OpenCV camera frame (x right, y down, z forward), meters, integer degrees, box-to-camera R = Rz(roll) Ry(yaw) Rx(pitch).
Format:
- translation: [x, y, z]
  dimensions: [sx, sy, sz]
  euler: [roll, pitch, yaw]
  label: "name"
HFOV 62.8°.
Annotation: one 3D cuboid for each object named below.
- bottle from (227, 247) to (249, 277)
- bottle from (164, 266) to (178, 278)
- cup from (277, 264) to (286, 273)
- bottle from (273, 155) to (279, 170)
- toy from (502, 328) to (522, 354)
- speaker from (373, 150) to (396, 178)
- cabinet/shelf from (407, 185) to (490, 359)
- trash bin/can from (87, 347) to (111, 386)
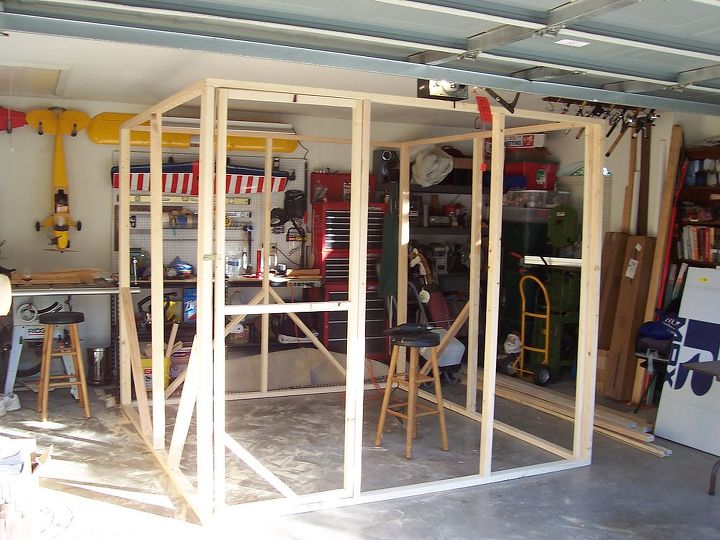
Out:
- translation: [-1.796, -0.109, 8.626]
  dimensions: [0.329, 0.377, 0.395]
  euler: [0, 10, -9]
  label: "bottle"
- translation: [-2.641, 0.027, 8.098]
  dimensions: [0.177, 0.167, 0.221]
  euler: [-2, 7, -31]
  label: "bottle"
- translation: [-1.193, -0.021, 8.640]
  dimensions: [0.175, 0.111, 0.144]
  euler: [4, 12, 10]
  label: "cup"
- translation: [-1.256, -1.586, 8.783]
  dimensions: [0.094, 0.201, 0.225]
  euler: [1, 10, -5]
  label: "bottle"
- translation: [2.122, 1.021, 8.210]
  dimensions: [0.279, 0.252, 0.153]
  euler: [3, 1, 27]
  label: "toy"
- translation: [0.368, -1.599, 9.092]
  dimensions: [0.432, 0.504, 0.238]
  euler: [5, 12, 14]
  label: "speaker"
- translation: [1.381, -0.059, 9.317]
  dimensions: [1.335, 2.704, 2.213]
  euler: [5, 11, 10]
  label: "cabinet/shelf"
- translation: [-3.303, 1.196, 7.428]
  dimensions: [0.266, 0.476, 0.215]
  euler: [-2, 12, -20]
  label: "trash bin/can"
